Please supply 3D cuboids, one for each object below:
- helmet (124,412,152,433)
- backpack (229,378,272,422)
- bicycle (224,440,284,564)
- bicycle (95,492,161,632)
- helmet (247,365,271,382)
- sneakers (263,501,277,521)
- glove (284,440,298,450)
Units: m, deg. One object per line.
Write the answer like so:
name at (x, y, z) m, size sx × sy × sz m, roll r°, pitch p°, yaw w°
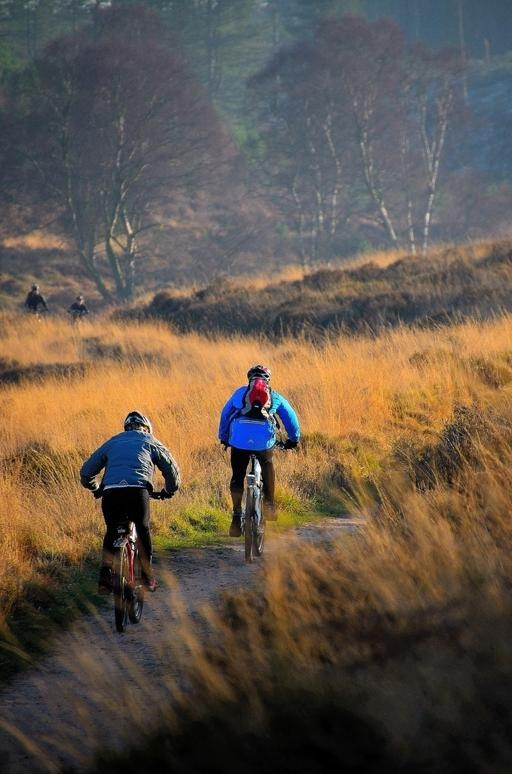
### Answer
helmet at (-0.890, 0.261, 8.946) m, size 0.121 × 0.201 × 0.197 m, roll 0°, pitch -3°, yaw 5°
backpack at (-0.010, 0.123, 10.147) m, size 0.212 × 0.408 × 0.133 m, roll 2°, pitch -9°, yaw 21°
bicycle at (-0.014, 1.055, 10.327) m, size 0.370 × 0.658 × 0.915 m, roll 1°, pitch 8°, yaw 1°
bicycle at (-0.916, 1.356, 8.381) m, size 0.338 × 0.610 × 0.840 m, roll -1°, pitch 6°, yaw 1°
helmet at (0.035, -0.111, 10.345) m, size 0.143 × 0.148 × 0.130 m, roll -15°, pitch 23°, yaw -11°
sneakers at (0.127, 1.108, 10.602) m, size 0.092 × 0.176 × 0.062 m, roll 1°, pitch 5°, yaw 1°
glove at (0.315, 0.530, 10.645) m, size 0.071 × 0.114 × 0.239 m, roll 0°, pitch 4°, yaw -1°
